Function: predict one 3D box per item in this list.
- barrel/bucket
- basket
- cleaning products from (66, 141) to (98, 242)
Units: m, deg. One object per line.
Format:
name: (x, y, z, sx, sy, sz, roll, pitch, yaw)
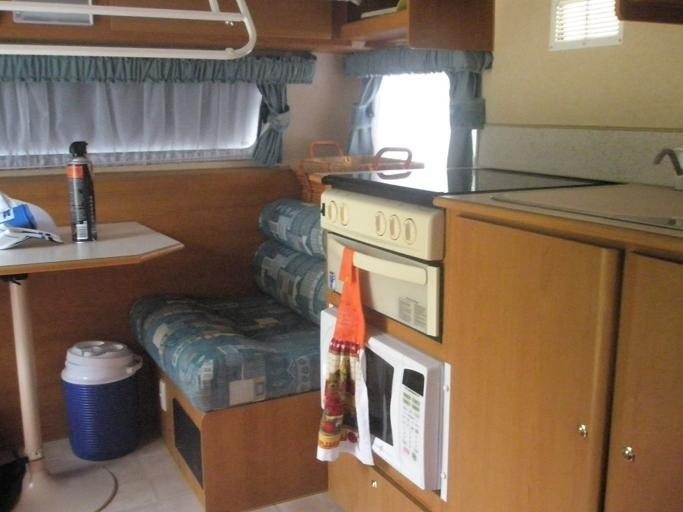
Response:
barrel/bucket: (-1.098, 0.653, 2.600, 0.368, 0.497, 0.324, 5, 8, 24)
basket: (0.010, -0.408, 2.867, 0.462, 0.164, 0.312, -6, 12, -37)
cleaning products: (-0.981, -0.213, 2.127, 0.088, 0.313, 0.063, -2, 11, -26)
